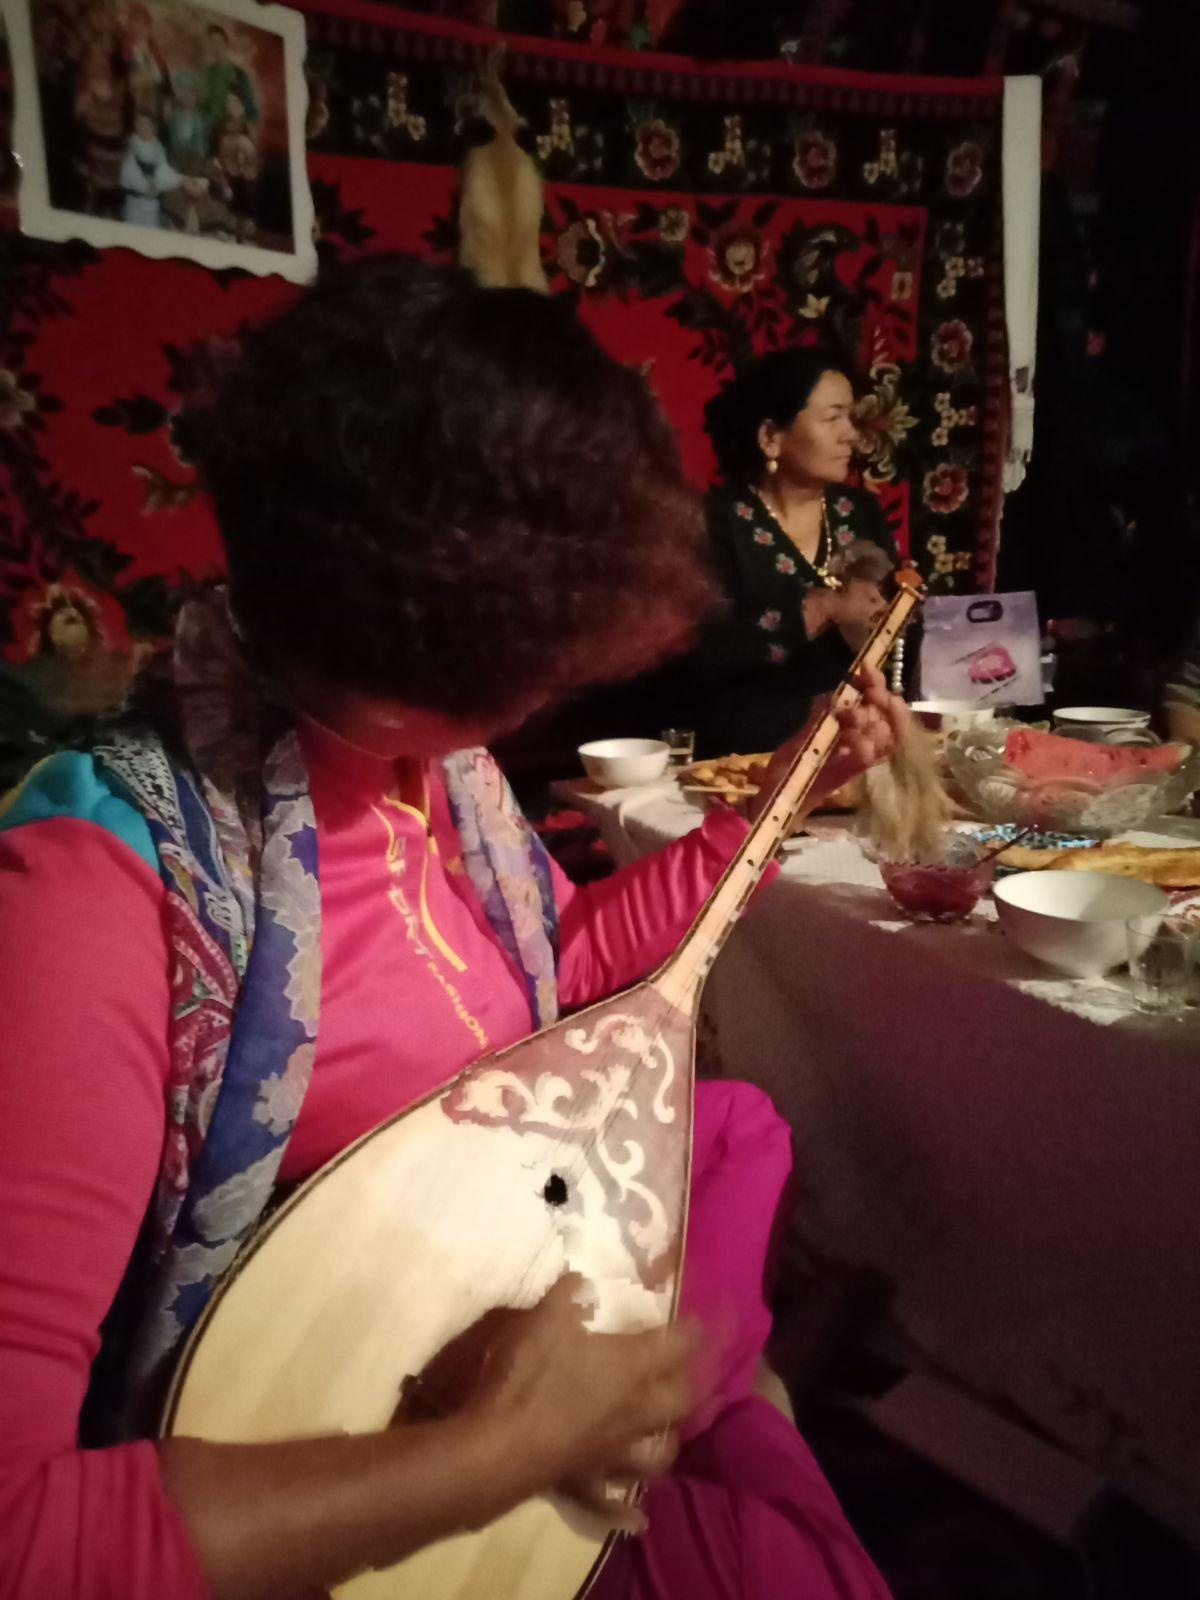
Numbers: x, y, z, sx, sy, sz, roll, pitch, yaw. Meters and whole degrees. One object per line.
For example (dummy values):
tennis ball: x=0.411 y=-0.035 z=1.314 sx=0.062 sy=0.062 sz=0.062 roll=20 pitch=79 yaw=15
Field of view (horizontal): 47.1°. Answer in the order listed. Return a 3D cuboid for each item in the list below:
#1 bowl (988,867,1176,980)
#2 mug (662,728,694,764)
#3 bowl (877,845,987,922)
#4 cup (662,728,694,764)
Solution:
bowl: x=0.383 y=0.092 z=1.085 sx=0.107 sy=0.043 sz=0.099 roll=-2 pitch=14 yaw=0
mug: x=0.106 y=-0.072 z=1.912 sx=0.044 sy=0.047 sz=0.051 roll=-2 pitch=7 yaw=1
bowl: x=0.285 y=0.066 z=1.181 sx=0.073 sy=0.045 sz=0.066 roll=-9 pitch=3 yaw=6
cup: x=0.108 y=-0.072 z=1.905 sx=0.044 sy=0.047 sz=0.051 roll=-2 pitch=7 yaw=1
